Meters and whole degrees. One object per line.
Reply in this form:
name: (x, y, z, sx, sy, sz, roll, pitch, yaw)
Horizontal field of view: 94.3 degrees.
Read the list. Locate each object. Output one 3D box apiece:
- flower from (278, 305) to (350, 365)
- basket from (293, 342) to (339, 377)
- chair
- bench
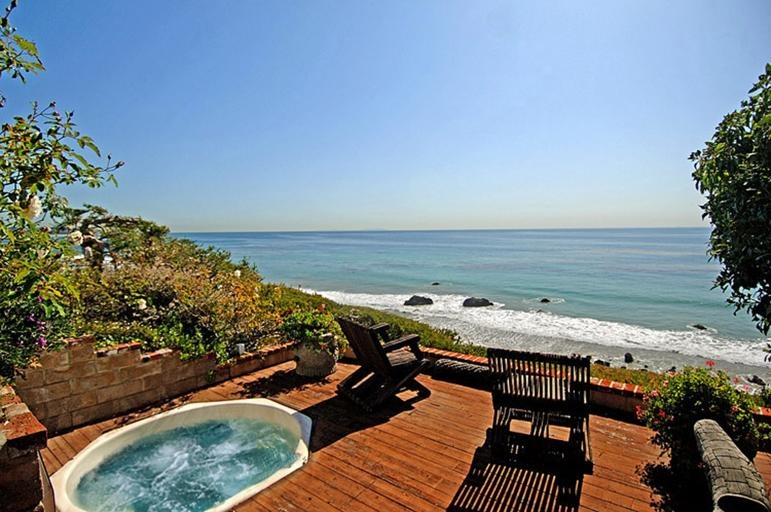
flower: (-1.410, 1.606, 8.085, 1.446, 0.816, 1.372, 23, -24, 15)
basket: (-1.620, 2.231, 7.960, 1.001, 0.636, 0.918, 7, -11, -24)
chair: (-0.035, 1.976, 7.192, 1.823, 1.358, 1.961, -3, 1, 29)
bench: (2.596, 2.172, 6.014, 1.361, 1.149, 1.861, -3, 9, 24)
